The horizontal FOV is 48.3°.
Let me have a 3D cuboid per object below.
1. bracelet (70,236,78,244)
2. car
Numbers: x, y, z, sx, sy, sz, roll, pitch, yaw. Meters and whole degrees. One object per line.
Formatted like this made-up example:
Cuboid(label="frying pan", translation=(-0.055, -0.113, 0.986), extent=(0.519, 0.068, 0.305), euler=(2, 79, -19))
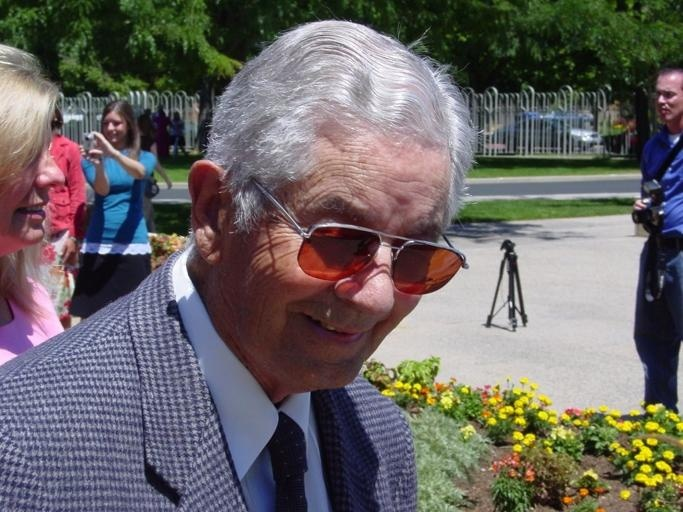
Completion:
Cuboid(label="bracelet", translation=(-2.403, -0.142, 6.940), extent=(0.043, 0.017, 0.050), euler=(32, -6, 25))
Cuboid(label="car", translation=(8.733, -5.258, 32.816), extent=(5.529, 1.989, 1.462), euler=(-6, 12, -28))
